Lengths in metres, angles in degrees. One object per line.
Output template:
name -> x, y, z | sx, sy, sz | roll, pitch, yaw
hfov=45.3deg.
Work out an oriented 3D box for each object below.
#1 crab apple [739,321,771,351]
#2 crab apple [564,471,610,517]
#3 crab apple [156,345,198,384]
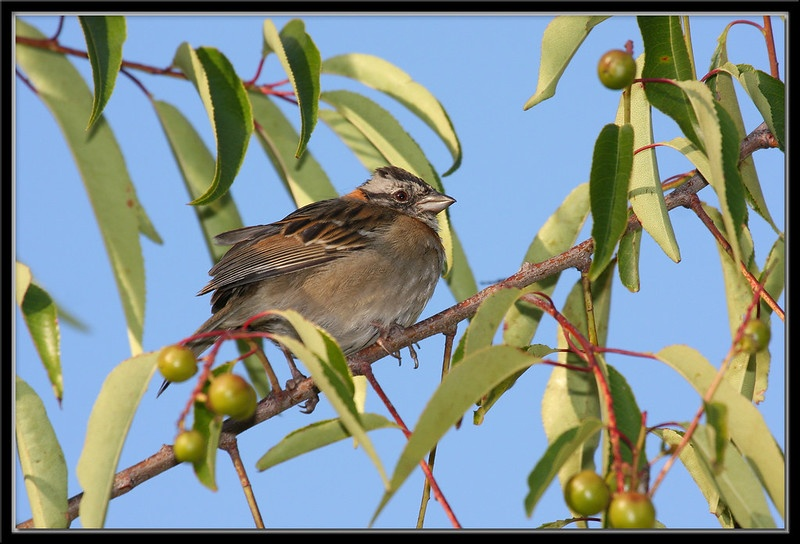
crab apple -> 1.610, 0.305, 4.341 | 0.111, 0.156, 0.121 | 13, -64, 15
crab apple -> 0.849, 1.019, 4.362 | 0.198, 0.207, 0.255 | -1, -84, 2
crab apple -> -1.068, 0.462, 4.577 | 0.183, 0.204, 0.235 | 0, -96, 5
